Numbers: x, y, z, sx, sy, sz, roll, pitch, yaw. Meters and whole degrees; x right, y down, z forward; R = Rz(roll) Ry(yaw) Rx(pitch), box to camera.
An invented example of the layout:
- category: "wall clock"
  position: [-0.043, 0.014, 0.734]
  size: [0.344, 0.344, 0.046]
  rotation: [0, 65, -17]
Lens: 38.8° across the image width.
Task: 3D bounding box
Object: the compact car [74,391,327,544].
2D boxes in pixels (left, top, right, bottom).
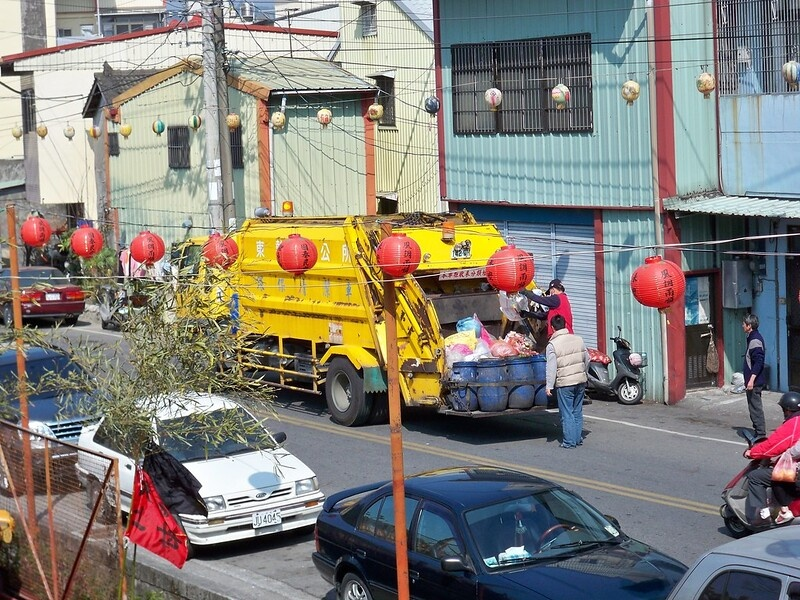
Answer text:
- category: "compact car"
  position: [-2.802, 2.615, 17.081]
  size: [2.066, 1.739, 3.149]
  rotation: [-5, 6, -39]

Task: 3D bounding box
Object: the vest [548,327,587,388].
- category: "vest"
  position: [2.894, 1.023, 19.733]
  size: [0.724, 0.963, 0.457]
  rotation: [-7, 16, -21]

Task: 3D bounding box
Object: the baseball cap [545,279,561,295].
- category: "baseball cap"
  position: [2.838, -0.247, 21.025]
  size: [0.204, 0.220, 0.318]
  rotation: [-6, 6, -25]

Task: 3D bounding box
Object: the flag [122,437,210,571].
- category: "flag"
  position: [-3.160, 2.804, 15.462]
  size: [0.198, 1.587, 1.165]
  rotation: [-26, -54, 25]

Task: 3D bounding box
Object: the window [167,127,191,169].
- category: "window"
  position: [-6.733, -4.645, 34.561]
  size: [0.056, 1.252, 0.886]
  rotation: [2, 7, 33]

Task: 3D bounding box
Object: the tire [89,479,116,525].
- category: "tire"
  position: [-3.688, 2.508, 14.200]
  size: [0.140, 0.461, 0.521]
  rotation: [-2, 16, -41]

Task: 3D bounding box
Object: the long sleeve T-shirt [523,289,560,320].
- category: "long sleeve T-shirt"
  position: [2.612, 0.081, 20.887]
  size: [0.556, 0.499, 0.330]
  rotation: [-13, -33, -7]

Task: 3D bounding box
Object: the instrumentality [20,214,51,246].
- category: "instrumentality"
  position: [-7.137, -1.375, 22.298]
  size: [0.495, 0.546, 1.107]
  rotation: [-3, 1, -20]

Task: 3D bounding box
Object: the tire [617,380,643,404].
- category: "tire"
  position: [4.606, 1.811, 22.706]
  size: [0.326, 0.407, 0.134]
  rotation: [-15, -9, 33]

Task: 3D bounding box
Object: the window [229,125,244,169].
- category: "window"
  position: [-4.650, -4.414, 32.550]
  size: [0.455, 1.124, 0.150]
  rotation: [0, 3, 43]

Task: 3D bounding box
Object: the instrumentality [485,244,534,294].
- category: "instrumentality"
  position: [1.866, -0.502, 19.764]
  size: [0.766, 0.914, 0.783]
  rotation: [1, 1, 6]

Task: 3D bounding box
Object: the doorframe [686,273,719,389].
- category: "doorframe"
  position: [6.147, 0.636, 23.186]
  size: [0.876, 2.283, 0.213]
  rotation: [-3, 1, -35]

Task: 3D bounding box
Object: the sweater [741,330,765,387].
- category: "sweater"
  position: [6.146, 1.011, 19.707]
  size: [0.328, 0.989, 0.427]
  rotation: [-2, 1, 14]

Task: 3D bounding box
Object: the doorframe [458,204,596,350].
- category: "doorframe"
  position: [2.564, -0.374, 22.215]
  size: [0.177, 2.817, 2.322]
  rotation: [-10, 14, -34]

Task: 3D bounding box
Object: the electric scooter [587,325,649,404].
- category: "electric scooter"
  position: [4.205, 1.390, 23.277]
  size: [1.800, 1.510, 0.658]
  rotation: [-2, -22, 46]

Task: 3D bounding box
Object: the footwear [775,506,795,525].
- category: "footwear"
  position: [5.182, 2.878, 15.274]
  size: [0.212, 0.317, 0.611]
  rotation: [-4, -9, 12]

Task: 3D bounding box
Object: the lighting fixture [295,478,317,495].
- category: "lighting fixture"
  position: [-1.351, 2.670, 16.483]
  size: [0.246, 0.117, 0.189]
  rotation: [-11, 6, -34]

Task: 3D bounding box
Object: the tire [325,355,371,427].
- category: "tire"
  position: [-0.954, 1.711, 21.419]
  size: [0.353, 0.975, 1.182]
  rotation: [-3, 1, -43]

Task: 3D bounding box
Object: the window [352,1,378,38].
- category: "window"
  position: [-1.066, -9.632, 39.160]
  size: [0.968, 1.640, 1.113]
  rotation: [0, 3, 11]

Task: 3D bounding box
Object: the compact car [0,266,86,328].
- category: "compact car"
  position: [-8.764, -0.024, 27.926]
  size: [1.142, 0.977, 2.492]
  rotation: [-4, 9, -31]
